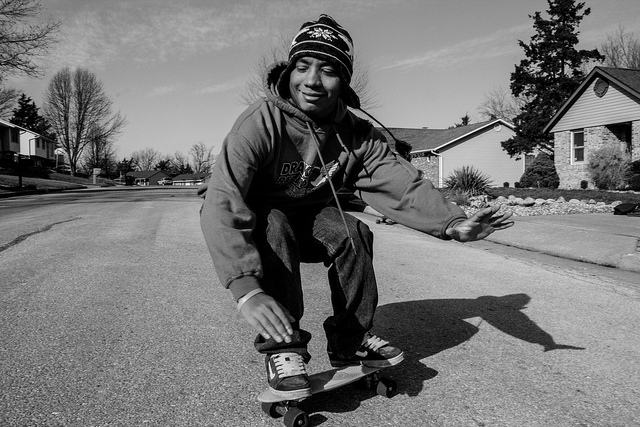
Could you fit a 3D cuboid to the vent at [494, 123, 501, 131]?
[{"bbox_3d":[15.611,-7.654,33.730,0.735,0.596,0.162,-3,9,-29],"label":"vent"}]
